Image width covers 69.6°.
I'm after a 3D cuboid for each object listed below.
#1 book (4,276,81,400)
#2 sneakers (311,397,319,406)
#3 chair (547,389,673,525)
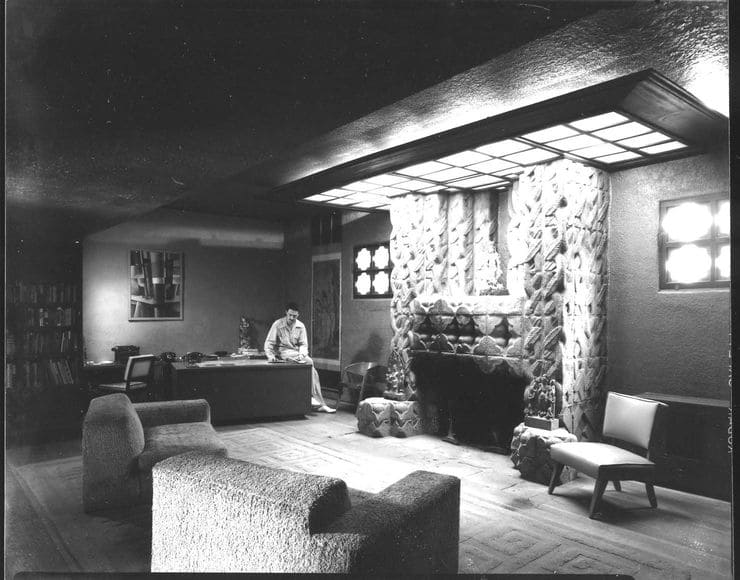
[{"bbox_3d":[-2.544,0.384,4.159,0.518,0.900,1.181,-1,2,-29],"label":"book"},{"bbox_3d":[-0.667,1.387,6.642,0.078,0.038,0.113,3,16,-17],"label":"sneakers"},{"bbox_3d":[1.717,1.178,3.910,0.716,0.805,0.731,2,-2,34],"label":"chair"}]
